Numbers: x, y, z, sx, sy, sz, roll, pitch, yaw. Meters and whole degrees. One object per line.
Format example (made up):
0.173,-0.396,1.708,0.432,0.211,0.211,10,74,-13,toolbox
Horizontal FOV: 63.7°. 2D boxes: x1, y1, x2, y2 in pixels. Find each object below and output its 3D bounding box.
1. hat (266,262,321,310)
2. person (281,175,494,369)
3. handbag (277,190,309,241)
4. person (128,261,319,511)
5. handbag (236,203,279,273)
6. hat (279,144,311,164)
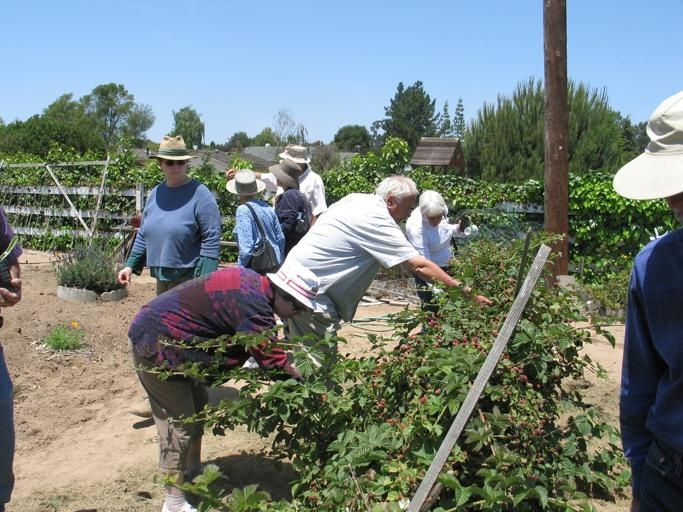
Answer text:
-0.261,0.153,3.284,0.289,0.114,0.264,43,10,1,hat
0.161,0.071,4.093,1.132,1.247,0.641,-2,13,-6,person
-0.526,-0.415,5.848,0.249,0.466,0.423,-2,25,13,handbag
-0.810,0.918,3.550,1.201,1.785,0.612,8,15,33,person
-0.793,-0.160,5.157,0.296,0.600,0.598,-12,-5,22,handbag
-0.619,-1.355,7.390,0.488,0.177,0.442,23,8,-12,hat
